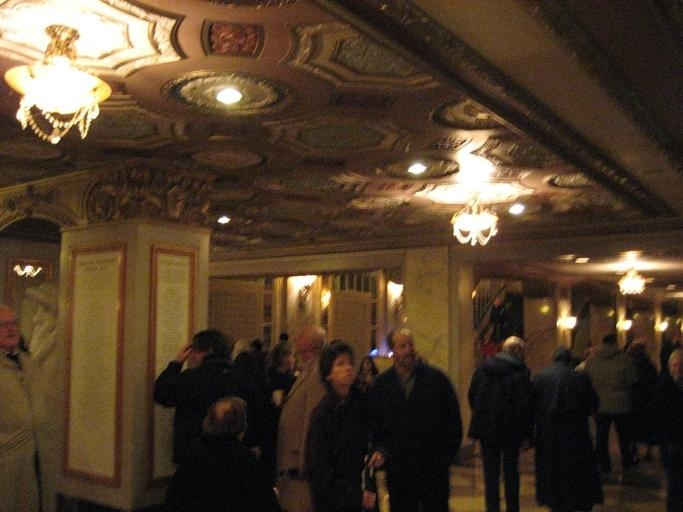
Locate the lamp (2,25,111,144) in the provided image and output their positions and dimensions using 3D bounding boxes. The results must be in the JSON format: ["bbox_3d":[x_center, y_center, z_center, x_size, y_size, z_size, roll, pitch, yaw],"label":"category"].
[{"bbox_3d":[-2.084,-1.289,4.472,0.698,0.637,0.651,-8,-15,22],"label":"lamp"}]
